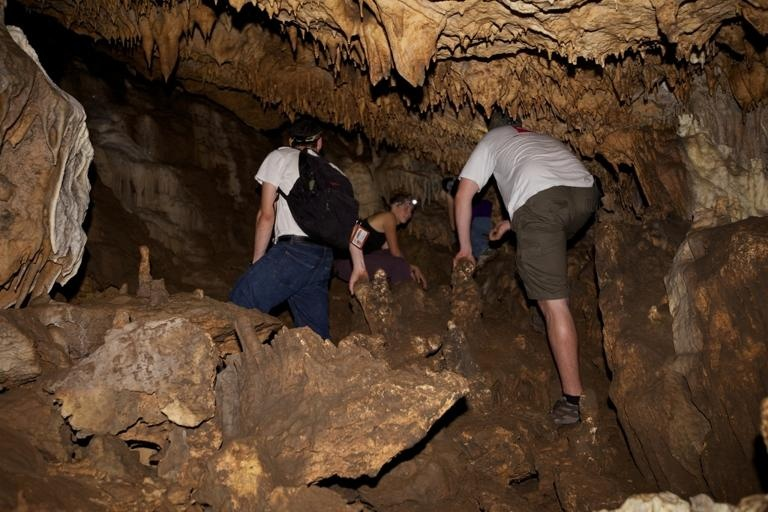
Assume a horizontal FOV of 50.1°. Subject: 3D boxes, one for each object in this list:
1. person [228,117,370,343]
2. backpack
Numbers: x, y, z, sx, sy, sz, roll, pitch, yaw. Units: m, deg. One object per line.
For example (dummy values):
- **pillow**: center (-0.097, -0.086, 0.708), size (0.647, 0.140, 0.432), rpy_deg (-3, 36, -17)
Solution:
- **person**: center (-0.750, -0.009, 7.304), size (1.016, 2.437, 1.037), rpy_deg (10, 0, -6)
- **backpack**: center (-0.538, -0.506, 7.079), size (0.690, 0.815, 0.231), rpy_deg (4, -10, -11)
